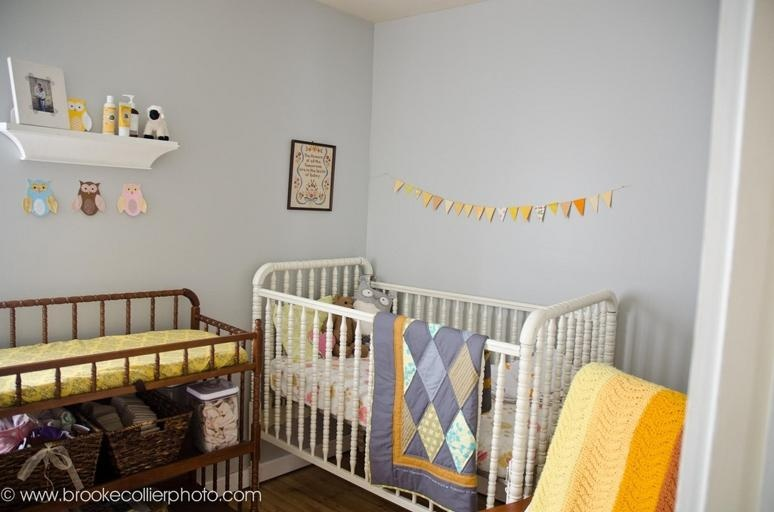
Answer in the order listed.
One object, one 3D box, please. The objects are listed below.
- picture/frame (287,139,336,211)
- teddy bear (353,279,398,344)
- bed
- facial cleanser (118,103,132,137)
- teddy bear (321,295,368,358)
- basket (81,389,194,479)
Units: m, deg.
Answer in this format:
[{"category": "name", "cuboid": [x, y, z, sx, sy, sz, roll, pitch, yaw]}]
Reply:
[{"category": "picture/frame", "cuboid": [-0.522, -0.542, 3.852, 0.040, 0.598, 0.485, 7, 5, 40]}, {"category": "teddy bear", "cuboid": [-0.093, 0.371, 3.877, 0.269, 0.359, 0.209, 15, 4, 8]}, {"category": "bed", "cuboid": [0.092, 0.577, 3.548, 1.194, 1.419, 2.177, -6, 9, -37]}, {"category": "facial cleanser", "cuboid": [-1.379, -0.706, 3.034, 0.066, 0.177, 0.074, -1, 6, -25]}, {"category": "teddy bear", "cuboid": [-0.238, 0.441, 3.672, 0.273, 0.392, 0.285, 4, -2, -6]}, {"category": "basket", "cuboid": [-1.275, 0.894, 2.943, 0.361, 0.228, 0.534, -5, 3, -35]}]
